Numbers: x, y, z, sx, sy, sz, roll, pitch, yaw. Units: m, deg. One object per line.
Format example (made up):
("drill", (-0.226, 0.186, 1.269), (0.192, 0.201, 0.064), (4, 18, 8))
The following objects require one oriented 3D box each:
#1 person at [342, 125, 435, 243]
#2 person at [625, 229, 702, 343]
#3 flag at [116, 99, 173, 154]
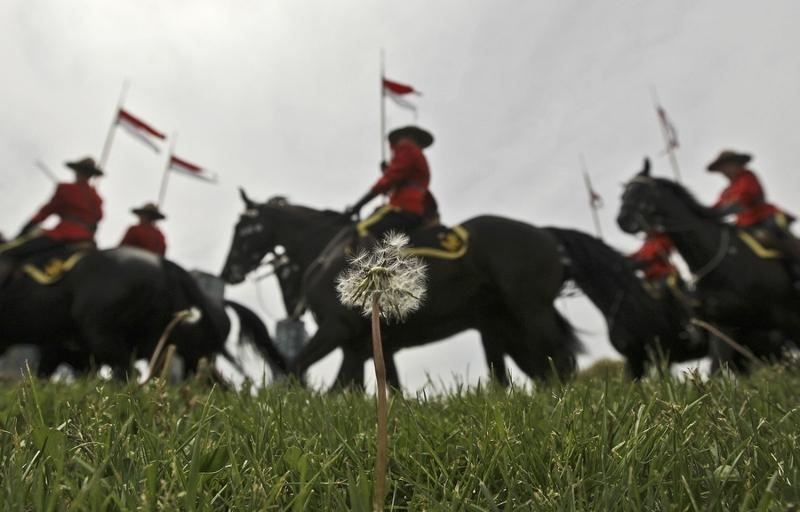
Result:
("person", (-0.018, -0.654, 12.021), (1.009, 1.652, 0.446), (0, -50, 9))
("person", (2.929, 0.284, 11.958), (0.267, 1.193, 0.671), (-37, 4, 13))
("flag", (-3.111, -1.506, 12.926), (0.582, 0.695, 0.545), (1, -27, -8))
